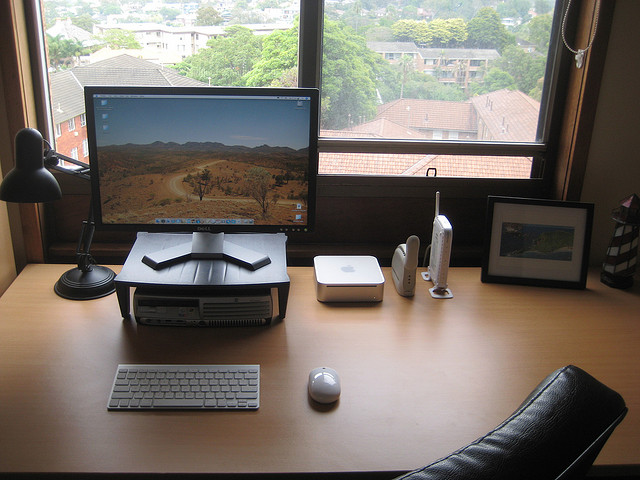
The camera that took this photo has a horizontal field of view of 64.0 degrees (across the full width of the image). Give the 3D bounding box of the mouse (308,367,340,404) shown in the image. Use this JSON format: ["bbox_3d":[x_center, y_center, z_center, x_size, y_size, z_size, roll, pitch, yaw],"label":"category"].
[{"bbox_3d":[0.013,0.405,1.502,0.102,0.040,0.137,-5,31,-1],"label":"mouse"}]

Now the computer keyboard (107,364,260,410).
[{"bbox_3d":[-0.384,0.423,1.481,0.424,0.059,0.143,0,20,-2],"label":"computer keyboard"}]
